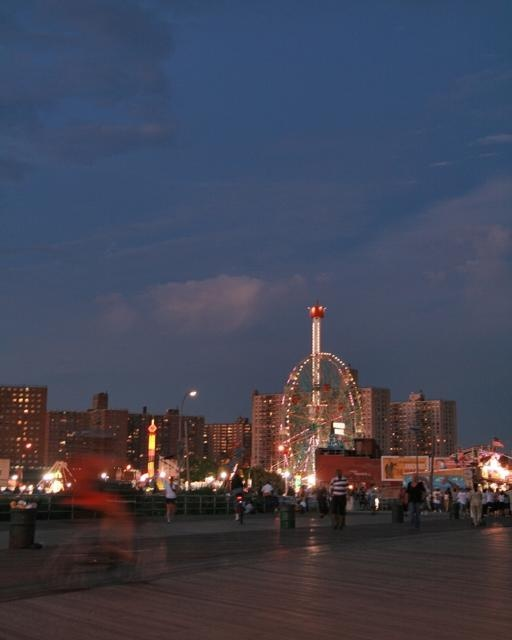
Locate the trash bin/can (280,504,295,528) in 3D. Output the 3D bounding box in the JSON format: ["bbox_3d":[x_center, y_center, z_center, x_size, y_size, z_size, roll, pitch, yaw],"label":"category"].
[{"bbox_3d":[0.854,5.199,24.027,0.376,0.673,0.739,-1,-17,-1],"label":"trash bin/can"}]

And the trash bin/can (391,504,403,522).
[{"bbox_3d":[4.366,5.952,27.975,0.322,0.534,0.523,-3,-17,6],"label":"trash bin/can"}]
